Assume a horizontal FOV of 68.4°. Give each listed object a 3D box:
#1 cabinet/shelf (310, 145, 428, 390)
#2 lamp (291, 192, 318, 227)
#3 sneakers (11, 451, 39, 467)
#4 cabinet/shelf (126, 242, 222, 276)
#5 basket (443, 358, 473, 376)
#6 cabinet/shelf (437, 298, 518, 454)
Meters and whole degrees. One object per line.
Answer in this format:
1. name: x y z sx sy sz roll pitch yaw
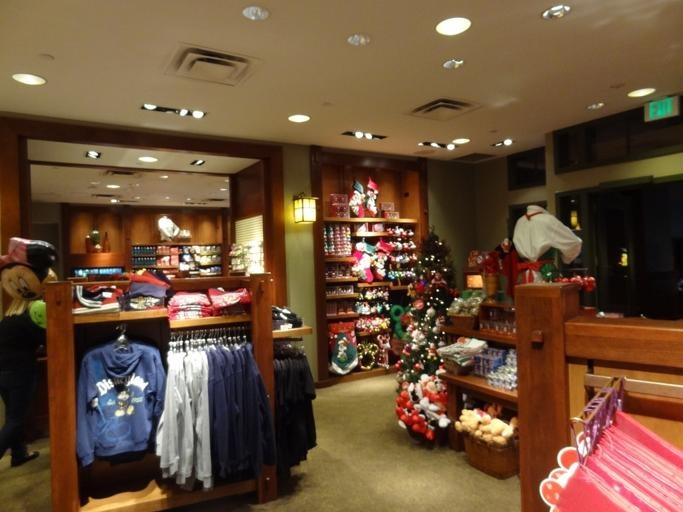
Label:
1. cabinet/shelf: 0.344 0.057 7.378 2.045 3.132 0.826 -5 5 -44
2. lamp: -0.448 -0.626 6.624 0.357 0.400 0.308 -3 4 -18
3. sneakers: -2.916 1.872 4.640 0.209 0.089 0.070 -9 11 -43
4. cabinet/shelf: -3.746 0.072 11.621 2.004 0.752 0.778 -3 4 -16
5. basket: 1.081 0.984 4.617 0.175 0.118 0.176 3 -5 -40
6. cabinet/shelf: 1.251 1.090 4.541 0.901 1.348 0.616 2 5 41
